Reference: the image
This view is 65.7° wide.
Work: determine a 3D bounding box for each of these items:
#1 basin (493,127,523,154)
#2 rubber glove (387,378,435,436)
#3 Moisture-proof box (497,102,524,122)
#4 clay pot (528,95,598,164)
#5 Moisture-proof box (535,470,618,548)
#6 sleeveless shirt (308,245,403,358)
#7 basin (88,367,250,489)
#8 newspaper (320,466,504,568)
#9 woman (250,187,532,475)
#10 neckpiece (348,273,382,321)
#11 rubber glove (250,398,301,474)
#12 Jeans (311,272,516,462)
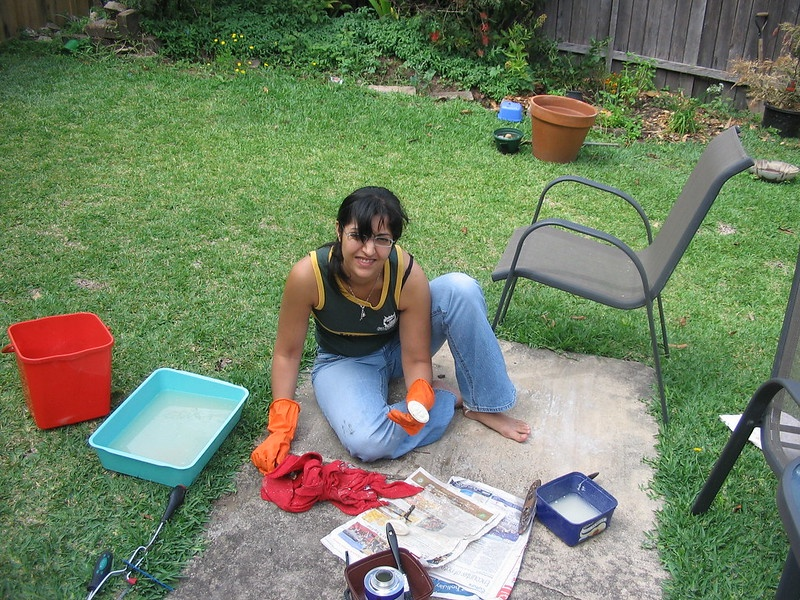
[{"bbox_3d":[1.089,-1.624,6.267,0.258,0.163,0.269,-2,31,1],"label":"basin"},{"bbox_3d":[0.072,0.501,2.918,0.167,0.089,0.264,24,39,-3],"label":"rubber glove"},{"bbox_3d":[1.270,-2.173,7.130,0.292,0.164,0.329,7,31,8],"label":"Moisture-proof box"},{"bbox_3d":[1.535,-1.672,6.349,0.673,0.561,0.732,9,32,-5],"label":"clay pot"},{"bbox_3d":[0.772,0.933,2.760,0.309,0.168,0.240,-14,34,-26],"label":"Moisture-proof box"},{"bbox_3d":[-0.207,-0.008,2.917,0.405,0.577,0.317,-1,44,-12],"label":"sleeveless shirt"},{"bbox_3d":[-1.087,0.614,3.005,0.555,0.220,0.563,2,31,-1],"label":"basin"},{"bbox_3d":[0.102,0.994,2.721,0.366,0.059,0.390,22,35,33],"label":"newspaper"},{"bbox_3d":[-0.016,0.100,2.977,1.269,1.207,1.029,-2,24,-3],"label":"woman"},{"bbox_3d":[-0.168,-0.025,2.893,0.161,0.182,0.055,0,8,-6],"label":"neckpiece"},{"bbox_3d":[-0.573,0.639,2.908,0.194,0.156,0.321,7,40,-1],"label":"rubber glove"},{"bbox_3d":[-0.039,0.398,3.172,0.798,0.744,0.980,-28,26,-31],"label":"Jeans"}]
